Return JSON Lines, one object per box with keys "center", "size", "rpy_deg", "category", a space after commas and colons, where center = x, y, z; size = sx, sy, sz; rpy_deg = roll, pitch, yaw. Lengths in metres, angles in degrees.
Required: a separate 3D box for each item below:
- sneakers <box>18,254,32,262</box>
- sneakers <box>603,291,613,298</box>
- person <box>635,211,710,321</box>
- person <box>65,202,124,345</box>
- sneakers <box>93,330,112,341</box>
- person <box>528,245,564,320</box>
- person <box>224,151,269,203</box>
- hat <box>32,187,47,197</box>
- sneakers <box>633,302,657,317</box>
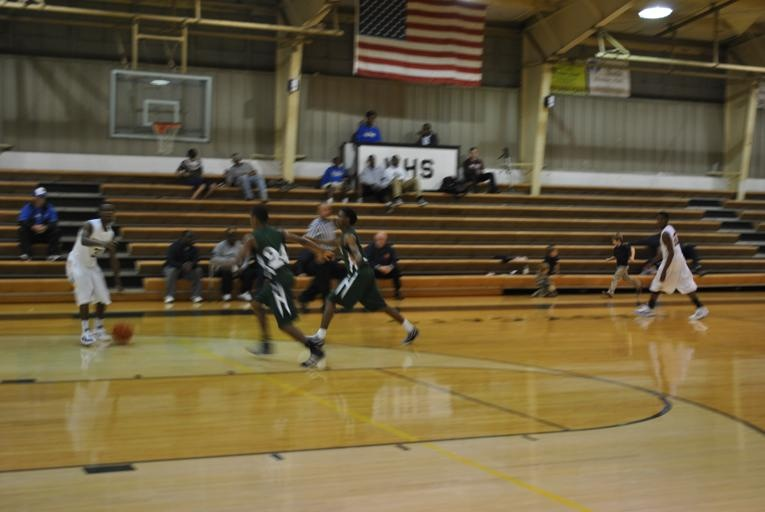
{"center": [-6.519, 0.037, 13.186], "size": [0.188, 0.121, 0.132], "rpy_deg": [-1, 8, -21], "category": "sneakers"}
{"center": [4.705, 0.811, 14.968], "size": [0.153, 0.077, 0.216], "rpy_deg": [26, -31, -1], "category": "sneakers"}
{"center": [4.847, 0.211, 12.053], "size": [1.272, 1.640, 0.834], "rpy_deg": [2, 4, 41], "category": "person"}
{"center": [-3.963, 0.218, 9.812], "size": [0.604, 1.876, 1.430], "rpy_deg": [-1, 8, -23], "category": "person"}
{"center": [-3.787, 1.076, 9.738], "size": [0.211, 0.088, 0.120], "rpy_deg": [0, 2, 37], "category": "sneakers"}
{"center": [3.555, 0.422, 14.898], "size": [0.672, 1.168, 0.530], "rpy_deg": [-21, -39, 38], "category": "person"}
{"center": [-2.908, -1.708, 15.722], "size": [0.745, 1.119, 0.994], "rpy_deg": [-13, 2, -40], "category": "person"}
{"center": [-6.380, -1.179, 13.448], "size": [0.194, 0.156, 0.514], "rpy_deg": [-2, 8, -26], "category": "hat"}
{"center": [4.574, 0.960, 12.490], "size": [0.428, 0.179, 0.174], "rpy_deg": [3, 5, 0], "category": "sneakers"}
